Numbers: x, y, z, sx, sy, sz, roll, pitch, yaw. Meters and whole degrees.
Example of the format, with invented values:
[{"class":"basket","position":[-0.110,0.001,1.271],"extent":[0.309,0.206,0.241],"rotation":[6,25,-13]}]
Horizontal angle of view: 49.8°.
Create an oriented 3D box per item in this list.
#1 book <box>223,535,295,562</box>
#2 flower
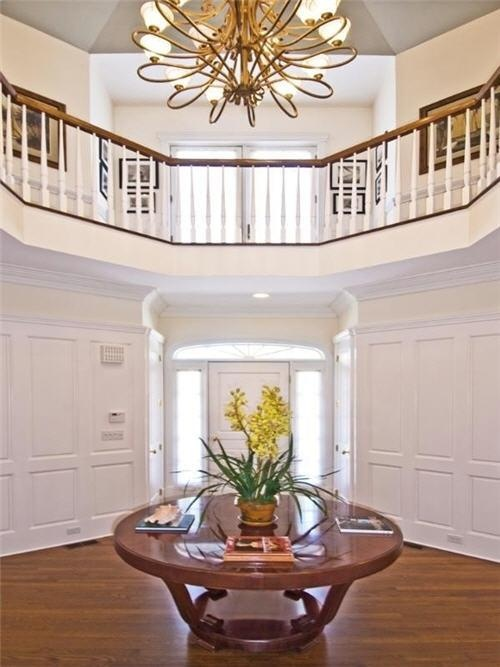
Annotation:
[{"class":"book","position":[0.049,1.103,2.772],"extent":[0.342,0.044,0.288],"rotation":[-1,-4,3]},{"class":"flower","position":[0.035,0.772,3.263],"extent":[0.837,0.775,0.830],"rotation":[-7,-7,42]}]
